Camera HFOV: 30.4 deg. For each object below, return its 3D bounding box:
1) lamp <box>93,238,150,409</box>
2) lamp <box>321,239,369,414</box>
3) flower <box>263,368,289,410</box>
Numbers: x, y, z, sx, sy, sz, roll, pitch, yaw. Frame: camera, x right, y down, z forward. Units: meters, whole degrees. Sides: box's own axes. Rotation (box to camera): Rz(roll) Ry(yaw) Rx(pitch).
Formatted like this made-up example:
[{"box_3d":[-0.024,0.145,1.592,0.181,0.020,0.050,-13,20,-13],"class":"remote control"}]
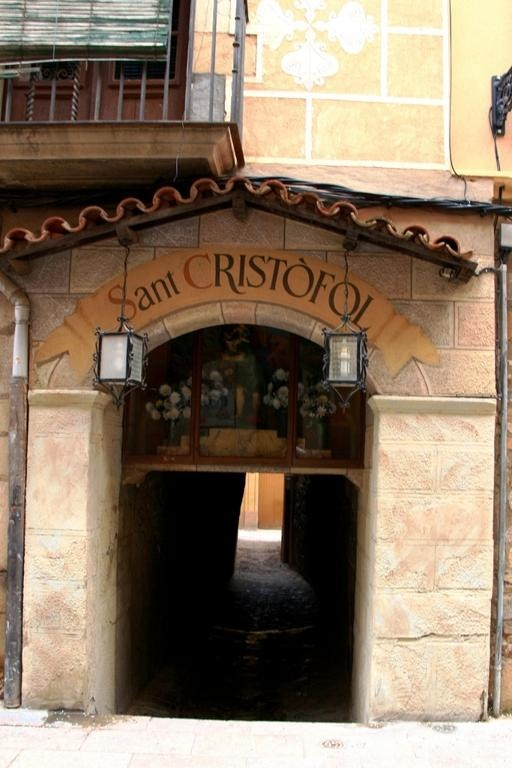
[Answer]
[{"box_3d":[-0.868,-0.404,6.034,0.346,1.061,0.665,1,-7,-9],"class":"lamp"},{"box_3d":[0.585,-0.353,6.163,0.277,1.105,0.870,-1,-7,6],"class":"lamp"},{"box_3d":[0.153,0.042,7.040,0.222,0.279,0.097,13,6,29],"class":"flower"}]
